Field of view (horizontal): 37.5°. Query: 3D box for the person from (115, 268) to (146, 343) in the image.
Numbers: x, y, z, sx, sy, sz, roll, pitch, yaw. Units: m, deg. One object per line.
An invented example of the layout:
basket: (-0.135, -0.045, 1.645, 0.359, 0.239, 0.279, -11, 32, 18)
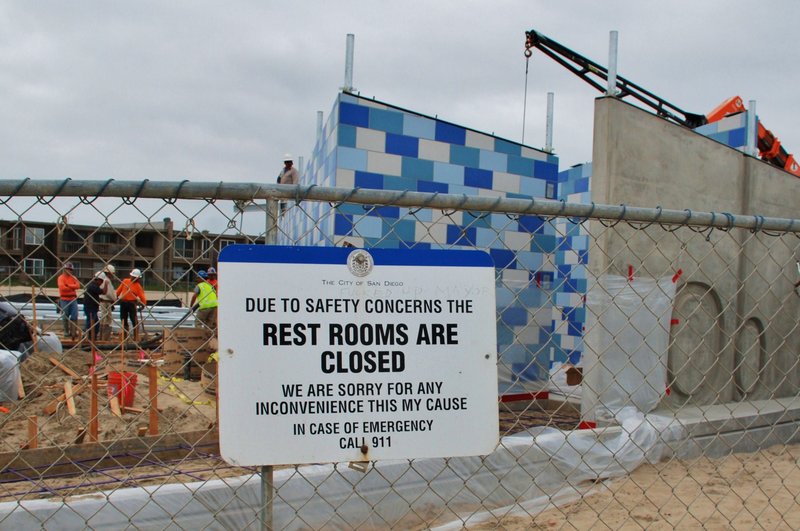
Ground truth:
person: (-5.189, 0.697, 22.691, 0.445, 1.297, 0.409, 7, 19, -3)

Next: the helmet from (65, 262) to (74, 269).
helmet: (-5.149, -0.007, 18.392, 0.074, 0.108, 0.101, -12, 7, -9)

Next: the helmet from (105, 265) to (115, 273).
helmet: (-4.420, 0.039, 17.975, 0.105, 0.158, 0.372, -1, -6, -3)
